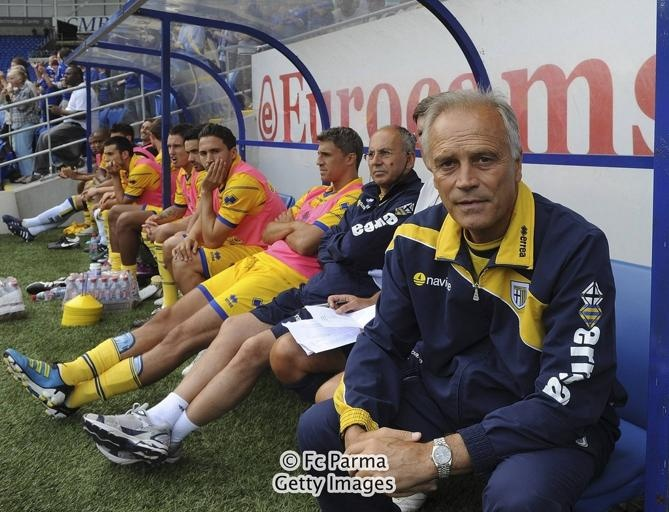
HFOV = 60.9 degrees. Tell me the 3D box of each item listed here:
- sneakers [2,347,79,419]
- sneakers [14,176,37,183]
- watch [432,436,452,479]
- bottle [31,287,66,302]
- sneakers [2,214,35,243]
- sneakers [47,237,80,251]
[{"bbox_3d":[-1.611,0.715,3.109,0.122,0.381,0.200,-29,19,44],"label":"sneakers"},{"bbox_3d":[-4.673,-1.160,8.682,0.370,0.150,0.122,-3,14,-28],"label":"sneakers"},{"bbox_3d":[0.359,0.673,1.890,0.065,0.118,0.105,-12,-28,12],"label":"watch"},{"bbox_3d":[-2.482,0.340,4.927,0.297,0.117,0.095,-4,7,-29],"label":"bottle"},{"bbox_3d":[-4.291,-0.355,7.703,0.216,0.428,0.137,-35,48,2],"label":"sneakers"},{"bbox_3d":[-3.458,-0.152,7.169,0.440,0.191,0.172,0,5,-15],"label":"sneakers"}]
